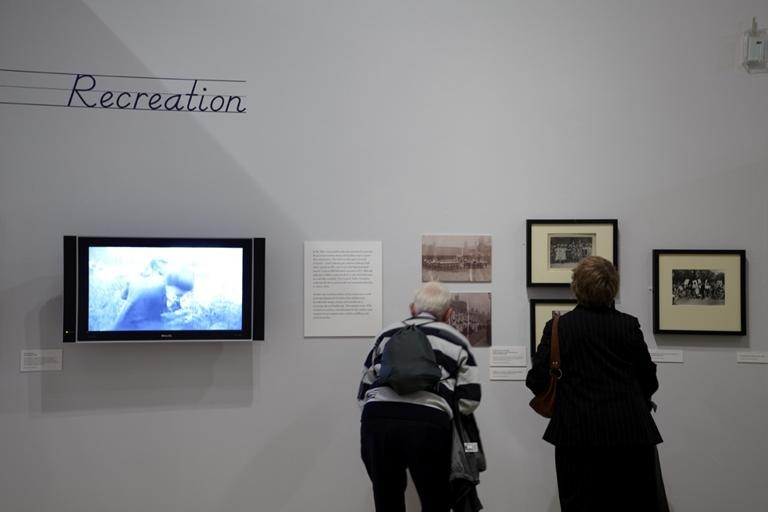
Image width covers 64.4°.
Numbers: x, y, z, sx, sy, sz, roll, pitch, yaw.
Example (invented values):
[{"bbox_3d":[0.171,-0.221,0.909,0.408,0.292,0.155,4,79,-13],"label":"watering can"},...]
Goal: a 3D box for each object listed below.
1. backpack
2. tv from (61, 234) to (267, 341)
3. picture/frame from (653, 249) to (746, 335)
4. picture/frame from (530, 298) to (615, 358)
[{"bbox_3d":[0.224,0.837,5.080,0.497,0.630,0.350,-14,-42,14],"label":"backpack"},{"bbox_3d":[-1.965,0.316,5.555,1.601,0.950,0.074,1,8,-15],"label":"tv"},{"bbox_3d":[2.977,0.368,5.724,0.738,0.743,0.059,0,0,2],"label":"picture/frame"},{"bbox_3d":[1.550,0.605,4.981,0.553,0.670,0.029,0,-2,3],"label":"picture/frame"}]
